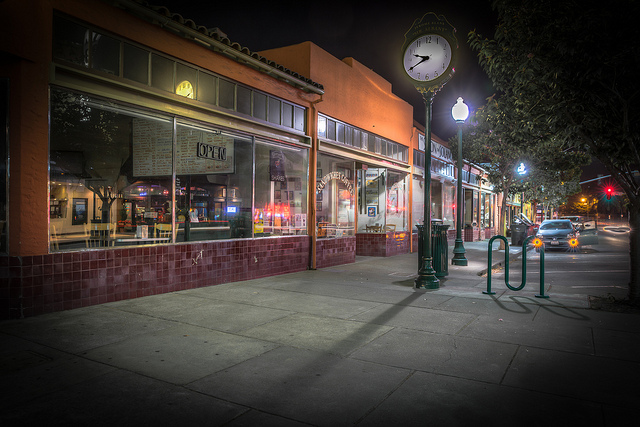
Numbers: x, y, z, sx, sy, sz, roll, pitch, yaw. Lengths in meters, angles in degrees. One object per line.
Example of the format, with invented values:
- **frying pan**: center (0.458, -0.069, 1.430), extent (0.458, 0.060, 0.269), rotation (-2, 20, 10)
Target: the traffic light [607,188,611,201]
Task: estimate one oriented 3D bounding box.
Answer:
- **traffic light**: center (27.296, -1.965, 41.163), extent (0.283, 0.941, 1.221), rotation (7, 12, 32)
